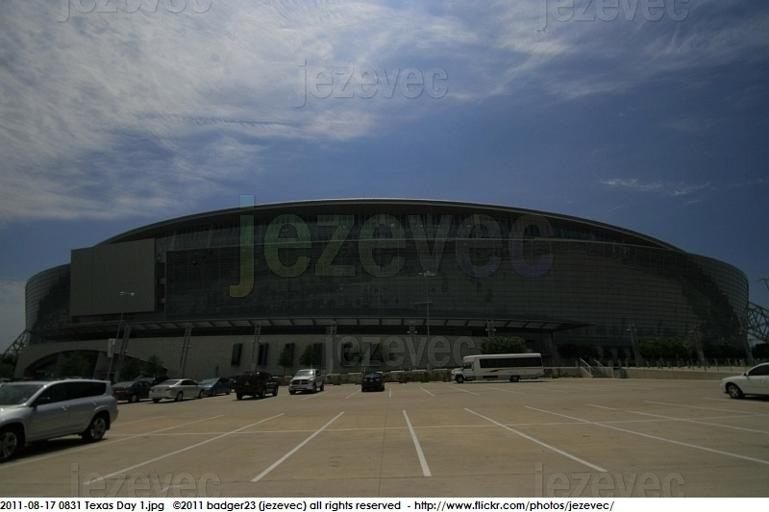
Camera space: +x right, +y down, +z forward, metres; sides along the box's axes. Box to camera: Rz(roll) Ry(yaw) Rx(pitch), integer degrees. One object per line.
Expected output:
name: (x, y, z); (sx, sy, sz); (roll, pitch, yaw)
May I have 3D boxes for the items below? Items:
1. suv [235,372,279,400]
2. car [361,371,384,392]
suv: (-10.476, 10.488, 37.894); (2.632, 2.364, 6.445); (-3, -17, 0)
car: (-0.963, 11.118, 40.742); (1.831, 1.485, 1.410); (1, -18, -12)
